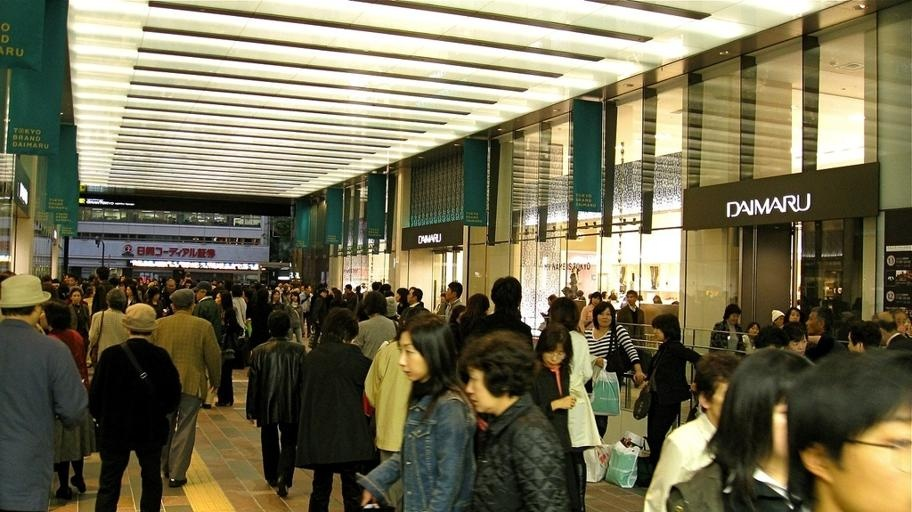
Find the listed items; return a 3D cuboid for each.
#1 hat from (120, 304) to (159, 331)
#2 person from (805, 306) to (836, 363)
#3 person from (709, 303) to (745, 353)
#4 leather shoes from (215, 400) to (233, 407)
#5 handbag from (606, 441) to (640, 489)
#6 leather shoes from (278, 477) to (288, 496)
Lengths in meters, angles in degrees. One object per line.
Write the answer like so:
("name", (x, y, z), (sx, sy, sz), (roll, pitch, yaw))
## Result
("hat", (-3.994, 0.767, 8.877), (0.330, 0.214, 0.420), (2, 5, -20))
("person", (5.784, 1.197, 10.989), (0.498, 0.746, 1.095), (1, 4, 29))
("person", (5.191, 1.351, 13.376), (0.607, 0.817, 1.882), (0, -2, 20))
("leather shoes", (-5.117, 3.292, 15.616), (0.441, 0.162, 0.137), (5, -4, -2))
("handbag", (2.648, 3.326, 11.149), (0.321, 0.653, 0.439), (2, -3, -35))
("leather shoes", (-2.506, 3.334, 10.123), (0.140, 0.307, 0.148), (-2, 23, -5))
